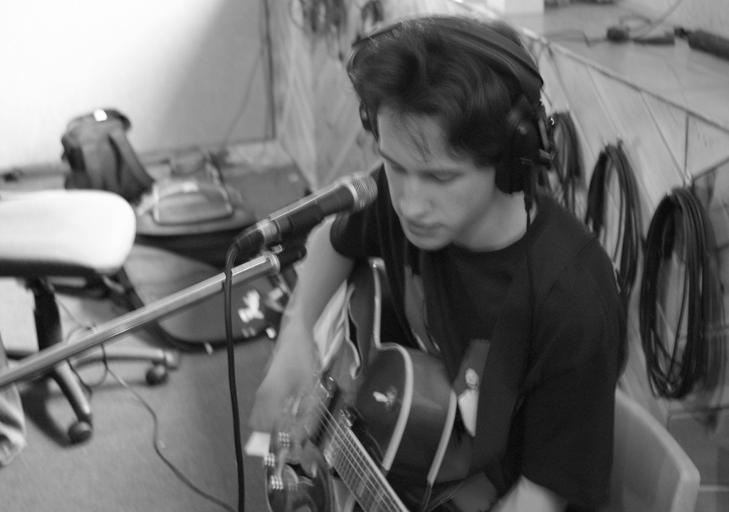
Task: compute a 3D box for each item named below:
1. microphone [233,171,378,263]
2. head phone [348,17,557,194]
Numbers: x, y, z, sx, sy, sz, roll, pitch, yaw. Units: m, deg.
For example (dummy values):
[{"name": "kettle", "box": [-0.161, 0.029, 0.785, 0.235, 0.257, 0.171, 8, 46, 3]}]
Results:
[{"name": "microphone", "box": [-0.141, -0.084, 1.532, 0.368, 0.092, 0.084, -29, 40, -15]}, {"name": "head phone", "box": [0.165, -0.287, 1.405, 0.413, 0.243, 0.546, 28, 23, 29]}]
